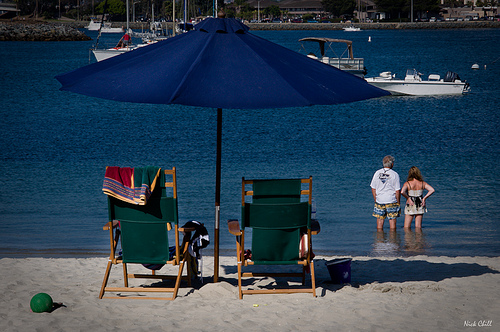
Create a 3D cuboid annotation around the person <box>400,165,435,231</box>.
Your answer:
[{"bbox_3d":[5.885,1.204,32.591,1.037,2.277,0.578,0,8,5],"label":"person"}]

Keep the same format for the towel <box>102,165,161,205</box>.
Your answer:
[{"bbox_3d":[-3.668,0.643,28.714,1.460,1.339,0.494,0,1,1],"label":"towel"}]

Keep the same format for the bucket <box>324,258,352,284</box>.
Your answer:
[{"bbox_3d":[2.924,3.376,29.236,0.755,0.617,0.746,-7,-8,-1],"label":"bucket"}]

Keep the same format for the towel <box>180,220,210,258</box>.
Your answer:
[{"bbox_3d":[-1.706,2.429,29.596,0.865,1.009,0.970,-10,-5,12],"label":"towel"}]

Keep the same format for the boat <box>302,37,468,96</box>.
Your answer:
[{"bbox_3d":[7.024,-5.681,55.508,12.676,3.819,3.089,2,-11,-12],"label":"boat"}]
